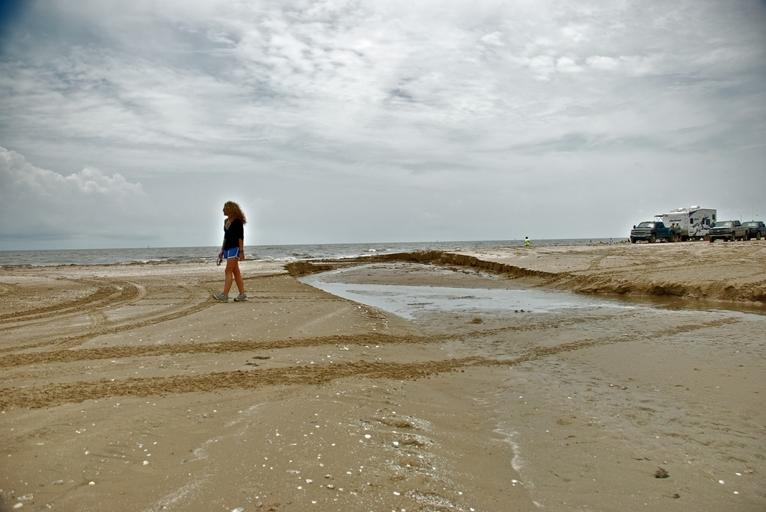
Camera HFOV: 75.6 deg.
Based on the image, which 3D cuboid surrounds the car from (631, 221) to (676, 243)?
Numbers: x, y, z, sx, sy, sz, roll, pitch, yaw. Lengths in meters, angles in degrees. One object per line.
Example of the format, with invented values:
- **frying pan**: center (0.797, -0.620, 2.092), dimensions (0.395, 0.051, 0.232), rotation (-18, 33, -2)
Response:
- **car**: center (23.004, -2.017, 41.994), dimensions (4.031, 1.888, 1.817), rotation (0, 9, -23)

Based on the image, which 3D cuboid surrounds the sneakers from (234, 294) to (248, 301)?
- **sneakers**: center (-3.815, 1.116, 13.208), dimensions (0.440, 0.209, 0.164), rotation (4, -8, 3)

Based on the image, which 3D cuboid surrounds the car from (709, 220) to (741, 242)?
- **car**: center (27.948, -2.039, 40.393), dimensions (1.947, 1.643, 3.375), rotation (9, 9, 33)
